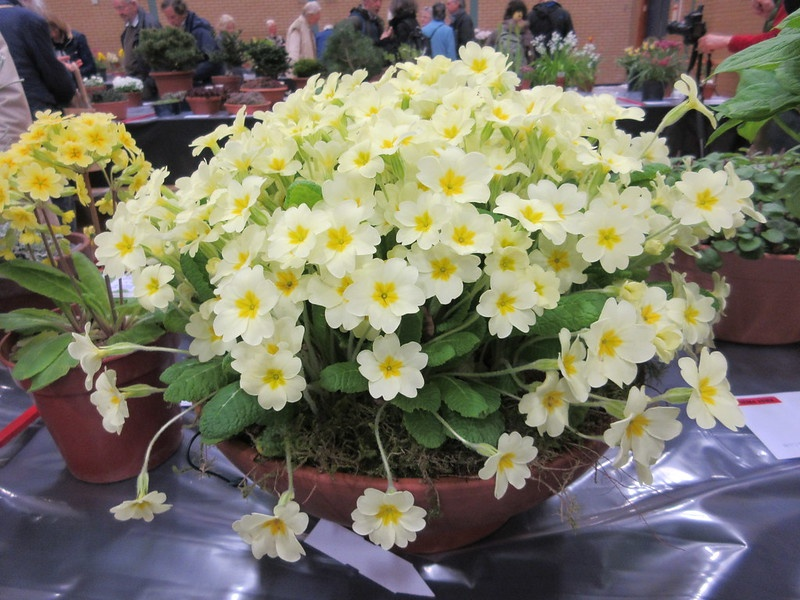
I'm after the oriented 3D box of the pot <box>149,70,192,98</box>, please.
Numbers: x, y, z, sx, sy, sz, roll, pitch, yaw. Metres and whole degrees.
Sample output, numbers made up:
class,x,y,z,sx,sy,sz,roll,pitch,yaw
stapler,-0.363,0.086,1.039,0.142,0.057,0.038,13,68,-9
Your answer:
class,x,y,z,sx,sy,sz,roll,pitch,yaw
pot,-1.797,-1.729,4.453,0.250,0.155,0.253,0,25,0

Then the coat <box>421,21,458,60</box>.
class,x,y,z,sx,sy,sz,roll,pitch,yaw
coat,0.393,-2.336,5.061,0.175,0.322,0.310,-10,16,14

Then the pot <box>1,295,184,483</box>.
class,x,y,z,sx,sy,sz,roll,pitch,yaw
pot,-0.690,0.213,1.379,0.338,0.280,0.364,-7,19,2

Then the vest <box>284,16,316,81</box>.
class,x,y,z,sx,sy,sz,roll,pitch,yaw
vest,-0.898,-2.397,5.274,0.195,0.532,0.185,-9,54,1
